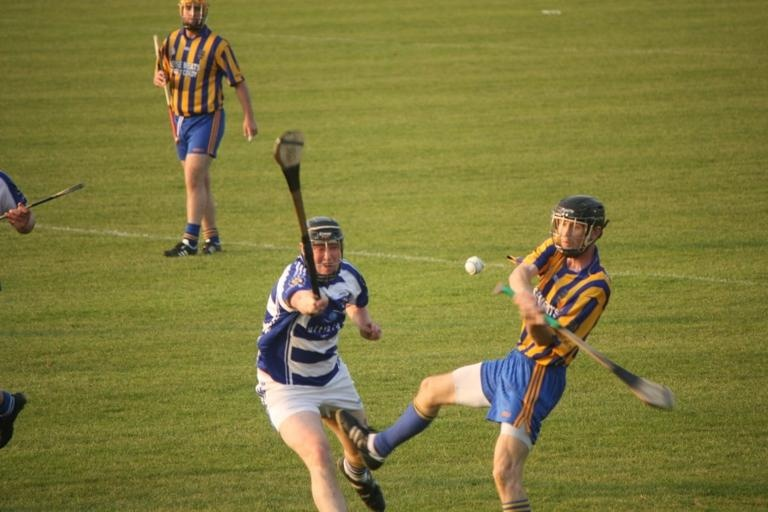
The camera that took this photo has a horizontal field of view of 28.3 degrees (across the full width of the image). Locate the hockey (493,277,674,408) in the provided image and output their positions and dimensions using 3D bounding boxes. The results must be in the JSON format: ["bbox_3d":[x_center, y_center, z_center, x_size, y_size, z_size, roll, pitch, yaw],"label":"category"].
[{"bbox_3d":[2.265,1.057,17.583,2.401,0.403,0.182,34,-12,18],"label":"hockey"}]

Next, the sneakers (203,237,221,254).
[{"bbox_3d":[-2.336,-0.133,20.555,0.131,0.153,0.357,4,3,13],"label":"sneakers"}]

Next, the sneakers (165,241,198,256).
[{"bbox_3d":[-2.713,-0.092,20.423,0.528,0.206,0.177,0,8,-4],"label":"sneakers"}]
